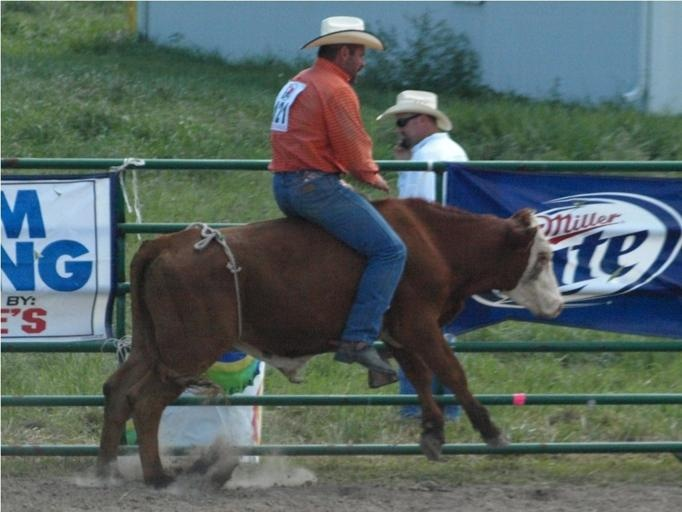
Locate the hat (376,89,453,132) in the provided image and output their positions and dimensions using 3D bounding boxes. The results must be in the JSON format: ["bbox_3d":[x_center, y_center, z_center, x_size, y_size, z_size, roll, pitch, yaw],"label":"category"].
[{"bbox_3d":[0.857,-1.668,21.162,0.897,0.365,0.685,6,-7,-5],"label":"hat"}]

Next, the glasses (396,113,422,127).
[{"bbox_3d":[0.774,-1.536,21.005,0.211,0.056,0.147,-24,4,-23],"label":"glasses"}]

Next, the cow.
[{"bbox_3d":[-0.144,0.924,19.919,6.172,2.887,1.517,-3,-1,-28],"label":"cow"}]

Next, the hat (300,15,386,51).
[{"bbox_3d":[0.041,-2.348,19.548,0.761,0.250,0.572,-3,-1,-4],"label":"hat"}]
